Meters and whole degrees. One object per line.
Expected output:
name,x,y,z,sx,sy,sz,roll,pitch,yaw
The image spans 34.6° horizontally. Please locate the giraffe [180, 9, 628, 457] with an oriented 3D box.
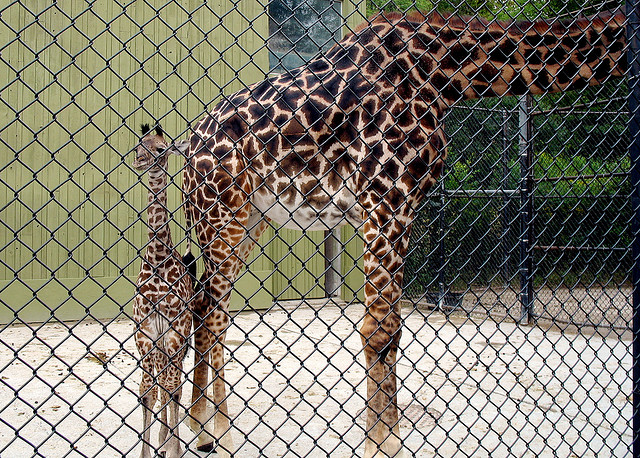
giraffe,0.556,-0.341,10.462,4.145,3.670,2.869,-8,44,-13
